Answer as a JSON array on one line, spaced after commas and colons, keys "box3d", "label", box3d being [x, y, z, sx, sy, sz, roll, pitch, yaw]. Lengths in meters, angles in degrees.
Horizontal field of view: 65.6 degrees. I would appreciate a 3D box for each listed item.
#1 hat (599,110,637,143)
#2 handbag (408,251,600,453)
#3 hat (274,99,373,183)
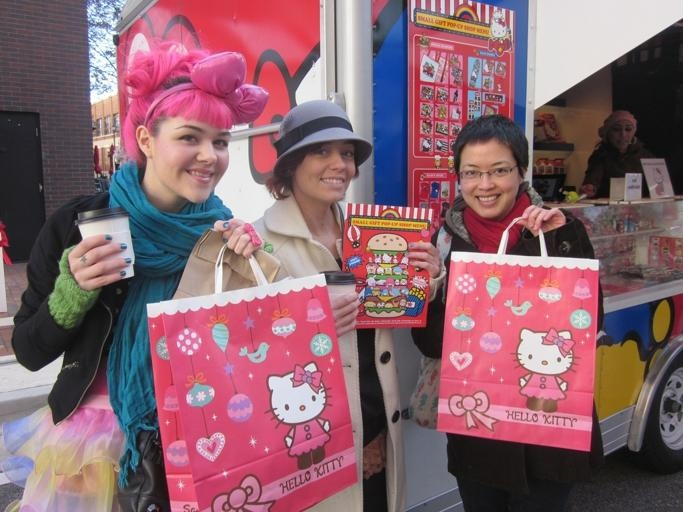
[{"box3d": [2.652, -1.233, 5.124, 0.282, 0.261, 0.328, -1, 5, 5], "label": "hat"}, {"box3d": [0.687, 0.379, 2.191, 0.758, 1.062, 0.316, 4, 1, 13], "label": "handbag"}, {"box3d": [-0.084, -0.468, 2.315, 0.344, 0.218, 0.347, -16, -7, 23], "label": "hat"}]
